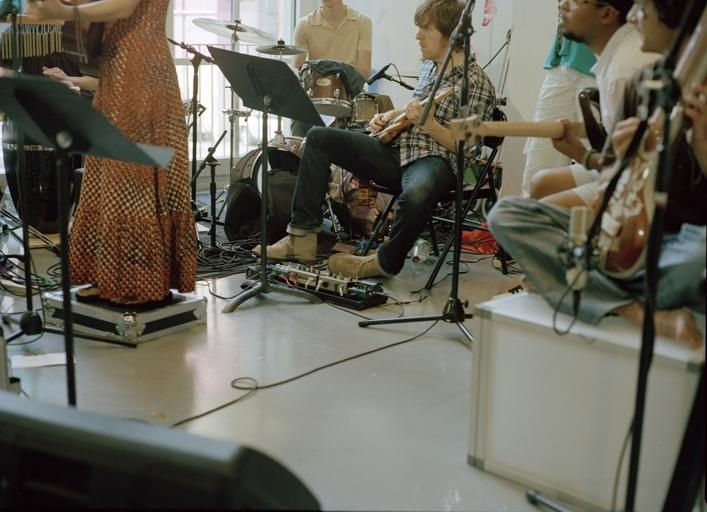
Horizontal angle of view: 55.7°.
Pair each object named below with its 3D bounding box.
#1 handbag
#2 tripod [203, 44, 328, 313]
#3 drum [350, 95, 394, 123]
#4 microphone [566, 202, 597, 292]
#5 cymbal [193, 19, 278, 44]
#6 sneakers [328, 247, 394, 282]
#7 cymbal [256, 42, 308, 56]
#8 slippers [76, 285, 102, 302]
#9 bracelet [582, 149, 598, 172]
[{"bbox_3d":[-0.494,-0.290,4.195,0.490,0.477,0.382,14,8,30],"label":"handbag"},{"bbox_3d":[-0.375,-0.283,2.931,0.536,1.100,0.616,11,6,21],"label":"tripod"},{"bbox_3d":[0.103,-0.976,4.515,0.239,0.229,0.250,0,3,-26],"label":"drum"},{"bbox_3d":[0.520,-0.015,1.543,0.058,0.169,0.106,10,5,12],"label":"microphone"},{"bbox_3d":[-0.816,-1.564,4.694,0.332,0.097,0.337,16,-3,29],"label":"cymbal"},{"bbox_3d":[0.035,0.049,3.473,0.317,0.130,0.135,8,14,-9],"label":"sneakers"},{"bbox_3d":[-0.468,-1.393,4.520,0.207,0.065,0.211,-3,7,-18],"label":"cymbal"},{"bbox_3d":[-1.061,0.155,2.659,0.064,0.026,0.085,7,12,22],"label":"slippers"},{"bbox_3d":[0.829,-0.337,2.357,0.036,0.051,0.063,6,-10,12],"label":"bracelet"}]
